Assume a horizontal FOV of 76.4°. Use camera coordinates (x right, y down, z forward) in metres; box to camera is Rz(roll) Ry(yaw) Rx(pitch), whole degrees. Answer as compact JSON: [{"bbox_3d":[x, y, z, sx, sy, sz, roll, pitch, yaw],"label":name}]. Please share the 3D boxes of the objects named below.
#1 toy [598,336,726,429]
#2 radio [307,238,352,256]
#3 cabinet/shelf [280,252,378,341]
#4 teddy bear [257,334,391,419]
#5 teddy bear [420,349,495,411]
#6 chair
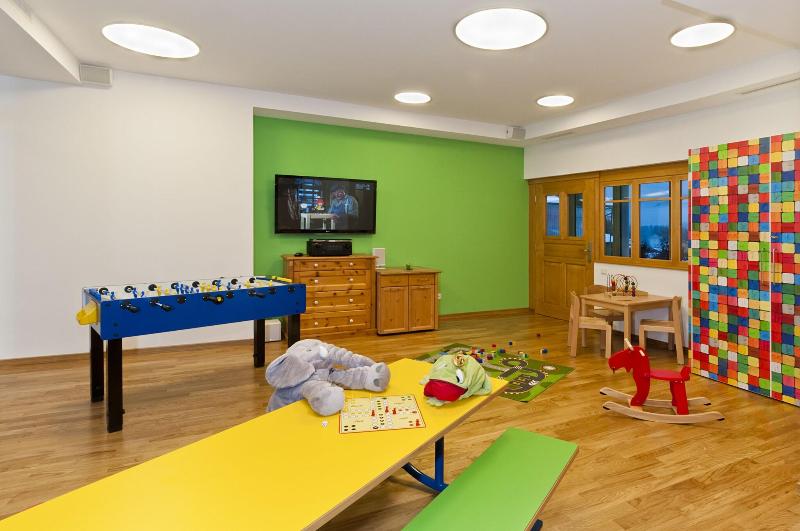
[{"bbox_3d":[2.602,1.155,5.114,1.080,0.744,0.406,0,3,11],"label":"toy"},{"bbox_3d":[-0.993,-0.260,7.196,0.622,0.237,0.177,-1,3,-13],"label":"radio"},{"bbox_3d":[-1.014,0.410,6.932,1.440,1.158,0.635,-1,1,-26],"label":"cabinet/shelf"},{"bbox_3d":[-0.586,0.835,3.919,0.790,0.372,0.580,-9,1,41],"label":"teddy bear"},{"bbox_3d":[0.407,0.832,3.766,0.400,0.187,0.427,0,0,36],"label":"teddy bear"},{"bbox_3d":[2.878,0.718,6.656,1.013,0.678,1.195,-1,3,-18],"label":"chair"}]
